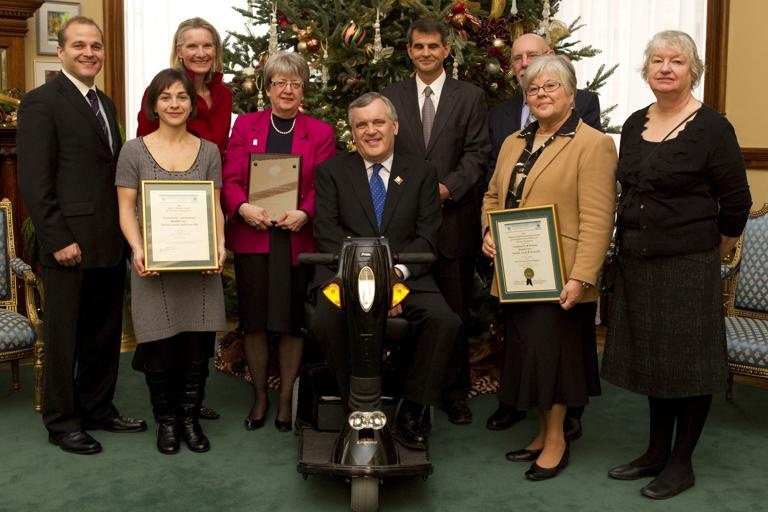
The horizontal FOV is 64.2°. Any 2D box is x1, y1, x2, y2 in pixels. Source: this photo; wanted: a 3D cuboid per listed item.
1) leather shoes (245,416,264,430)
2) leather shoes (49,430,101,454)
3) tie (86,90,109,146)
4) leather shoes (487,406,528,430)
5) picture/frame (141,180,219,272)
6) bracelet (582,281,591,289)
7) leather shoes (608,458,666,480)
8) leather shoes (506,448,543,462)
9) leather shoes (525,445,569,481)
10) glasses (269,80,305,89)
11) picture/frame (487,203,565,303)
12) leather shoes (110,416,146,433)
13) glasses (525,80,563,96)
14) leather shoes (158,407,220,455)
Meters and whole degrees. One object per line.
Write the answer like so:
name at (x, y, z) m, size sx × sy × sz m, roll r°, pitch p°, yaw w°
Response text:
leather shoes at (-0.817, 1.084, 3.949) m, size 0.108 × 0.042 × 0.060 m, roll 10°, pitch -13°, yaw -28°
leather shoes at (-1.807, 1.070, 3.646) m, size 0.298 × 0.095 × 0.124 m, roll 4°, pitch 7°, yaw 28°
tie at (-1.699, -0.870, 3.708) m, size 0.072 × 0.462 × 0.053 m, roll -16°, pitch -13°, yaw 7°
leather shoes at (0.839, 1.069, 4.119) m, size 0.130 × 0.150 × 0.331 m, roll -2°, pitch -4°, yaw 41°
picture/frame at (-1.138, -0.165, 3.439) m, size 0.451 × 0.597 × 0.056 m, roll -2°, pitch -3°, yaw -12°
bracelet at (1.090, 0.156, 3.295) m, size 0.036 × 0.023 × 0.051 m, roll 1°, pitch -5°, yaw 3°
leather shoes at (1.391, 1.189, 3.461) m, size 0.325 × 0.140 × 0.115 m, roll 0°, pitch 4°, yaw -2°
leather shoes at (0.825, 1.161, 3.606) m, size 0.199 × 0.057 × 0.082 m, roll -1°, pitch 0°, yaw -8°
leather shoes at (0.912, 1.156, 3.468) m, size 0.299 × 0.134 × 0.114 m, roll -3°, pitch -3°, yaw -41°
glasses at (-0.598, -1.076, 3.840) m, size 0.208 × 0.054 × 0.057 m, roll -1°, pitch 6°, yaw -7°
picture/frame at (0.789, -0.022, 3.326) m, size 0.452 × 0.653 × 0.101 m, roll -5°, pitch 4°, yaw 23°
leather shoes at (-1.602, 1.067, 3.917) m, size 0.170 × 0.073 × 0.103 m, roll -3°, pitch 9°, yaw 2°
glasses at (0.869, -0.912, 3.326) m, size 0.172 × 0.070 × 0.032 m, roll 1°, pitch 5°, yaw 15°
leather shoes at (-1.205, 1.049, 3.679) m, size 0.185 × 0.140 × 0.313 m, roll -1°, pitch 1°, yaw -27°
